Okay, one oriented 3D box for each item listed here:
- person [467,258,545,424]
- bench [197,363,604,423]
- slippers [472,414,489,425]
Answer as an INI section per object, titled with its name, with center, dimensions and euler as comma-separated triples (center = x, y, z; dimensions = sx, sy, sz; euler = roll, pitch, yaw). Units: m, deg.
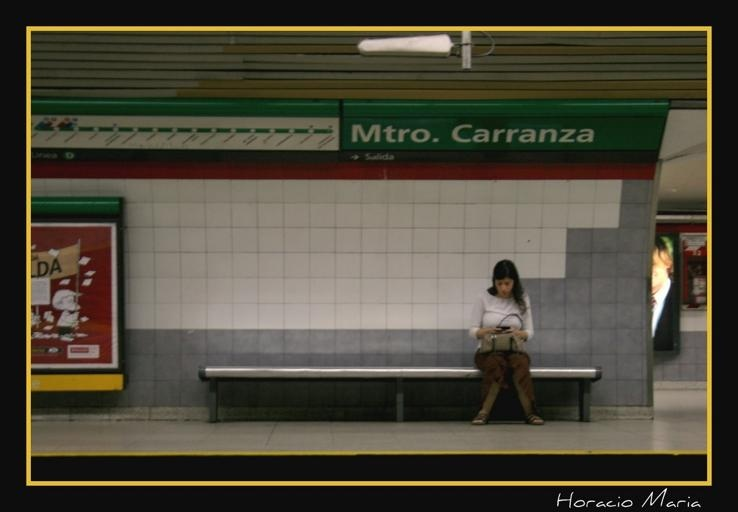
[person]
center = 1.444, 0.925, 11.737
dimensions = 0.727, 1.745, 0.299
euler = -2, -2, 6
[bench]
center = 0.351, 1.426, 12.063
dimensions = 4.432, 0.557, 0.609
euler = 0, 8, 2
[slippers]
center = 1.192, 1.736, 11.800
dimensions = 0.133, 0.083, 0.284
euler = -2, -7, 11
